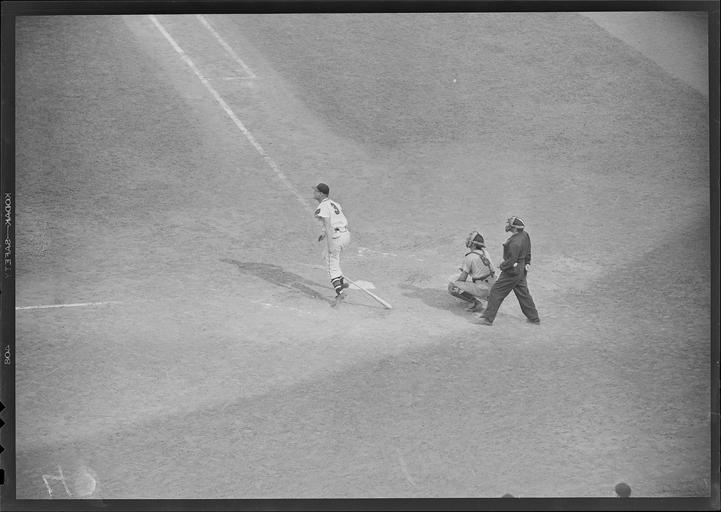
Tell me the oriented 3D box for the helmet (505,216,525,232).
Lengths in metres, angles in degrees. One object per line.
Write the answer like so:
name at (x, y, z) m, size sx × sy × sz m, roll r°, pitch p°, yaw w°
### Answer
helmet at (3.335, -0.687, 17.579) m, size 0.317 × 0.313 × 0.349 m, roll 4°, pitch 66°, yaw -2°

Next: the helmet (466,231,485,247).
helmet at (2.537, -0.391, 18.079) m, size 0.408 × 0.369 × 0.321 m, roll 20°, pitch 105°, yaw 42°
